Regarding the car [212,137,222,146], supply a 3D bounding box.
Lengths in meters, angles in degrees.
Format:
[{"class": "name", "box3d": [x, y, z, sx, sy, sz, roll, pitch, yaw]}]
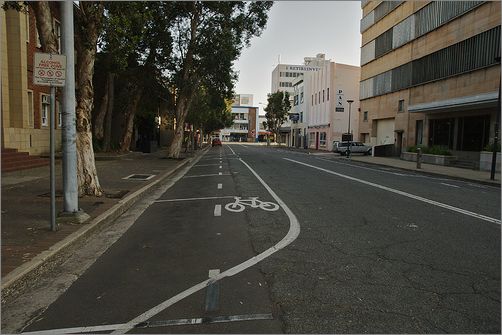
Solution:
[{"class": "car", "box3d": [-7.713, -5.564, 83.786, 1.315, 1.174, 2.601, 1, 13, -1]}]

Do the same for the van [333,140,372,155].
[{"class": "van", "box3d": [11.790, -2.179, 43.110, 3.148, 1.419, 1.746, -2, 7, -10]}]
